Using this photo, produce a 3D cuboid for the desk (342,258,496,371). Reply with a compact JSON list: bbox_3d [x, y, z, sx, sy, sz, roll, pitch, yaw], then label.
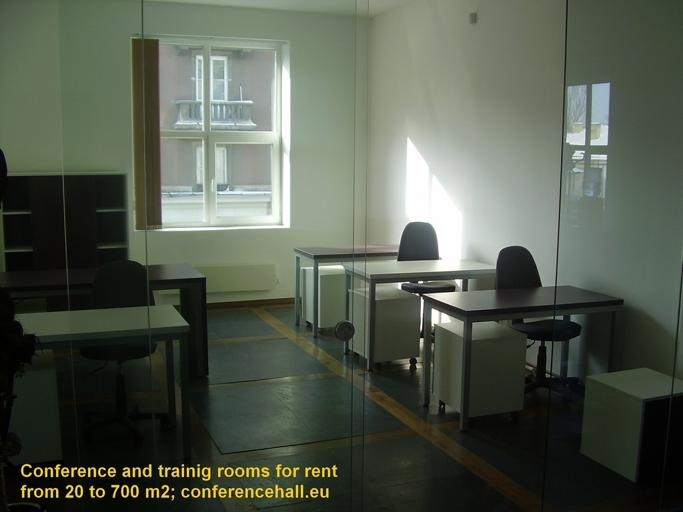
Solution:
[{"bbox_3d":[0.382,0.259,2.714,0.525,0.379,0.287,-1,-1,-3],"label":"desk"}]
